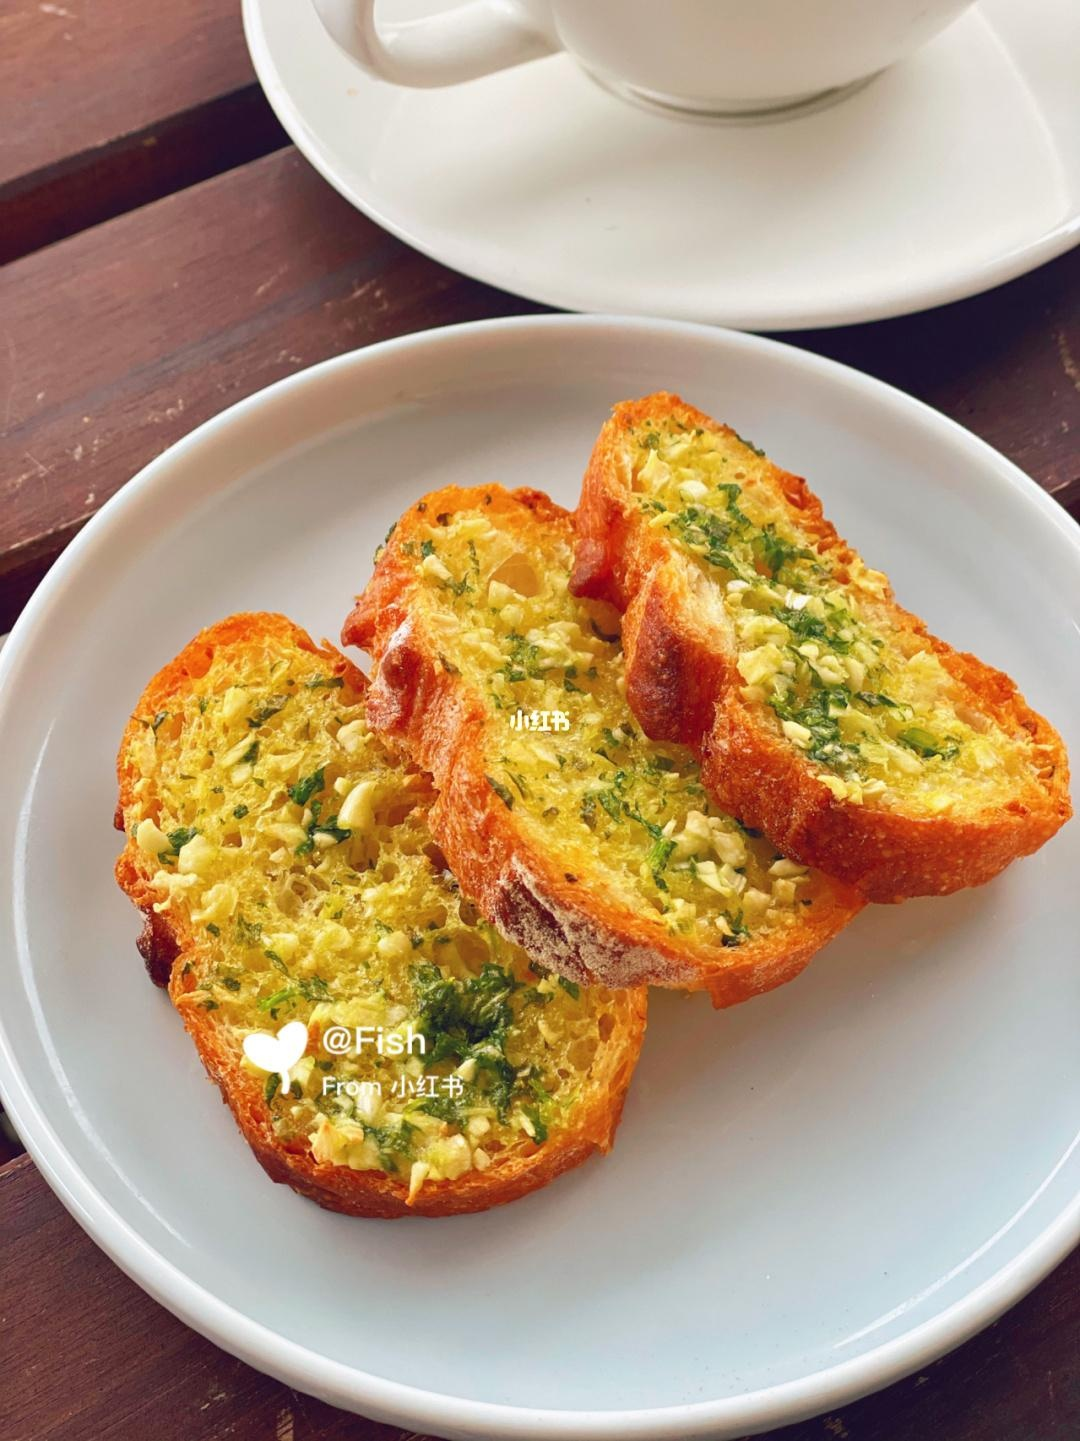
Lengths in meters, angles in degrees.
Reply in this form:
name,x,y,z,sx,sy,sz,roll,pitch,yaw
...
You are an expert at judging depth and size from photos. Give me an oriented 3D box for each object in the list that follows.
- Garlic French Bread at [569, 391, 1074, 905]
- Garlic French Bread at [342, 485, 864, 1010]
name,x,y,z,sx,sy,sz,roll,pitch,yaw
Garlic French Bread,0.193,-0.075,1.273,0.273,0.133,0.528,-36,69,-11
Garlic French Bread,-0.006,0.008,1.268,0.354,0.096,0.485,-17,60,-26
